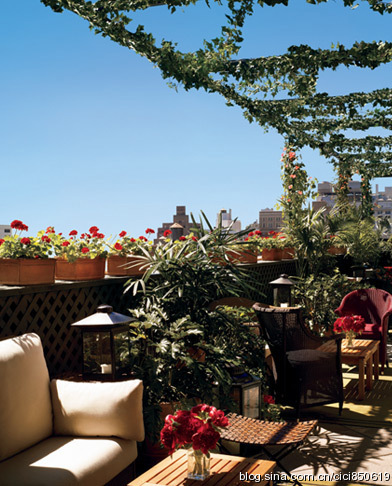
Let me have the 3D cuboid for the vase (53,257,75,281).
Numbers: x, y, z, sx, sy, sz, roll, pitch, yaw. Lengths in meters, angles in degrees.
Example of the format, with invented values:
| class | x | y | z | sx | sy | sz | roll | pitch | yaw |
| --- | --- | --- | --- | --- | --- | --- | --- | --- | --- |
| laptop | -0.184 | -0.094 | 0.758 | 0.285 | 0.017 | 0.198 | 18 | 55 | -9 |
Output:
| class | x | y | z | sx | sy | sz | roll | pitch | yaw |
| --- | --- | --- | --- | --- | --- | --- | --- | --- | --- |
| vase | -0.976 | 0.206 | 3.827 | 0.188 | 0.144 | 0.158 | -1 | -1 | 32 |

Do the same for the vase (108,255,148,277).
| class | x | y | z | sx | sy | sz | roll | pitch | yaw |
| --- | --- | --- | --- | --- | --- | --- | --- | --- | --- |
| vase | -0.577 | 0.191 | 4.323 | 0.340 | 0.181 | 0.320 | 0 | -2 | -9 |

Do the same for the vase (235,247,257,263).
| class | x | y | z | sx | sy | sz | roll | pitch | yaw |
| --- | --- | --- | --- | --- | --- | --- | --- | --- | --- |
| vase | 0.659 | 0.173 | 6.620 | 0.275 | 0.135 | 0.245 | 0 | -6 | 0 |

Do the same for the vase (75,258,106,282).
| class | x | y | z | sx | sy | sz | roll | pitch | yaw |
| --- | --- | --- | --- | --- | --- | --- | --- | --- | --- |
| vase | -0.792 | 0.194 | 3.937 | 0.090 | 0.176 | 0.298 | -2 | -2 | 25 |

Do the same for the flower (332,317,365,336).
| class | x | y | z | sx | sy | sz | roll | pitch | yaw |
| --- | --- | --- | --- | --- | --- | --- | --- | --- | --- |
| flower | 1.645 | 0.903 | 5.657 | 0.350 | 0.214 | 0.309 | -1 | -13 | -2 |

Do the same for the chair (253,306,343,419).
| class | x | y | z | sx | sy | sz | roll | pitch | yaw |
| --- | --- | --- | --- | --- | --- | --- | --- | --- | --- |
| chair | 0.949 | 1.064 | 4.715 | 0.773 | 0.829 | 0.715 | 11 | -12 | -39 |

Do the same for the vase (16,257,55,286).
| class | x | y | z | sx | sy | sz | roll | pitch | yaw |
| --- | --- | --- | --- | --- | --- | --- | --- | --- | --- |
| vase | -1.051 | 0.192 | 3.410 | 0.069 | 0.170 | 0.285 | -2 | -2 | 29 |

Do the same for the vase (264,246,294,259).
| class | x | y | z | sx | sy | sz | roll | pitch | yaw |
| --- | --- | --- | --- | --- | --- | --- | --- | --- | --- |
| vase | 1.286 | 0.175 | 8.032 | 0.233 | 0.186 | 0.728 | -2 | -2 | 39 |

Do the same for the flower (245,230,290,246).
| class | x | y | z | sx | sy | sz | roll | pitch | yaw |
| --- | --- | --- | --- | --- | --- | --- | --- | --- | --- |
| flower | 1.067 | -0.067 | 7.871 | 0.446 | 0.158 | 0.417 | 0 | -1 | -33 |

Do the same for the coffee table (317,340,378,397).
| class | x | y | z | sx | sy | sz | roll | pitch | yaw |
| --- | --- | --- | --- | --- | --- | --- | --- | --- | --- |
| coffee table | 1.609 | 1.301 | 5.490 | 0.564 | 0.392 | 0.929 | 0 | 0 | 25 |
